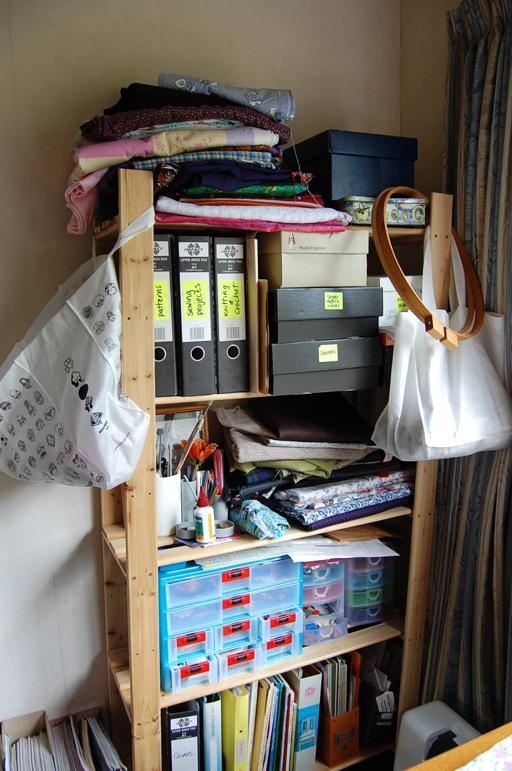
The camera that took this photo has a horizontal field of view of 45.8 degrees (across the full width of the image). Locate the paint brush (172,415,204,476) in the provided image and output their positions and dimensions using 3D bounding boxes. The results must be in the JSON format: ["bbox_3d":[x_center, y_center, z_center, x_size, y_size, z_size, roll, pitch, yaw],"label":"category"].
[{"bbox_3d":[-0.163,0.139,1.595,0.035,0.031,0.243,-1,36,23],"label":"paint brush"}]
